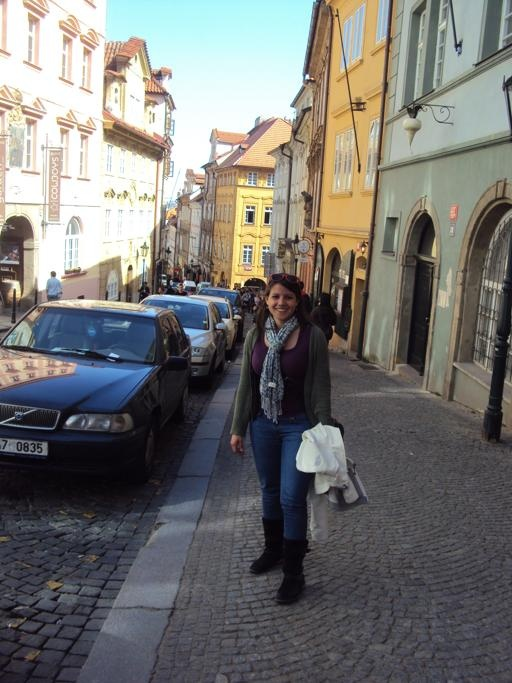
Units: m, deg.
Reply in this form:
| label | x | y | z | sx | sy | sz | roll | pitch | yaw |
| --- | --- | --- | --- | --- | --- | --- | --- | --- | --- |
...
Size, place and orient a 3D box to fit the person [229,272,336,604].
| label | x | y | z | sx | sy | sz | roll | pitch | yaw |
| --- | --- | --- | --- | --- | --- | --- | --- | --- | --- |
| person | 0.127 | 0.456 | 2.505 | 0.294 | 1.573 | 0.562 | 0 | -1 | -34 |

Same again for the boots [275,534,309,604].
| label | x | y | z | sx | sy | sz | roll | pitch | yaw |
| --- | --- | --- | --- | --- | --- | --- | --- | --- | --- |
| boots | 0.166 | 1.081 | 2.367 | 0.106 | 0.265 | 0.249 | 1 | -1 | 21 |
